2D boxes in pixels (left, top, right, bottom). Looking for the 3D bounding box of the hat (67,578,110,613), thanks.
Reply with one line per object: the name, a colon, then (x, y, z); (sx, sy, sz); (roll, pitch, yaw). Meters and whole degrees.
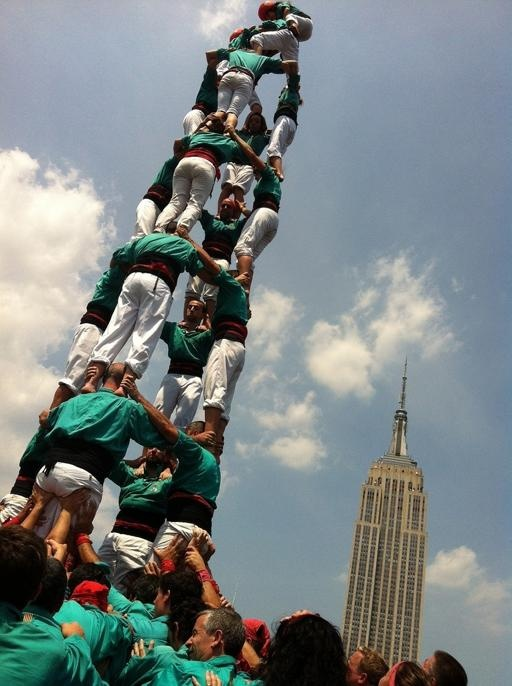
hat: (-1.279, 1.923, 6.657); (0.308, 0.260, 0.230); (6, -7, -34)
